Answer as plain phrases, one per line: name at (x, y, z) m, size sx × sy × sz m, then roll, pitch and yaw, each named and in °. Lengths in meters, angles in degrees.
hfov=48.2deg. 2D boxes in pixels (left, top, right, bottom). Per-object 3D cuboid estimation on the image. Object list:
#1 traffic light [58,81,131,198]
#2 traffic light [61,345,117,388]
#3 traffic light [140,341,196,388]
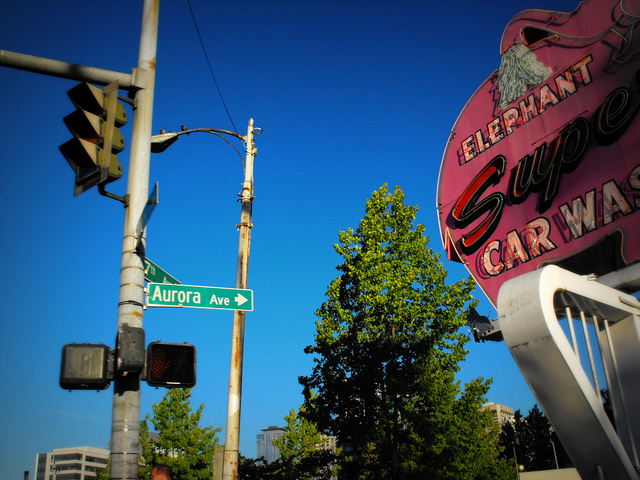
traffic light at (-4.614, -2.112, 14.666) m, size 1.207 × 2.497 × 1.135 m, roll 0°, pitch -29°, yaw -5°
traffic light at (-4.612, 2.561, 14.128) m, size 0.995 × 1.053 × 0.616 m, roll 4°, pitch -28°, yaw -18°
traffic light at (-3.028, 2.713, 14.575) m, size 1.109 × 1.183 × 0.673 m, roll 3°, pitch -44°, yaw -15°
